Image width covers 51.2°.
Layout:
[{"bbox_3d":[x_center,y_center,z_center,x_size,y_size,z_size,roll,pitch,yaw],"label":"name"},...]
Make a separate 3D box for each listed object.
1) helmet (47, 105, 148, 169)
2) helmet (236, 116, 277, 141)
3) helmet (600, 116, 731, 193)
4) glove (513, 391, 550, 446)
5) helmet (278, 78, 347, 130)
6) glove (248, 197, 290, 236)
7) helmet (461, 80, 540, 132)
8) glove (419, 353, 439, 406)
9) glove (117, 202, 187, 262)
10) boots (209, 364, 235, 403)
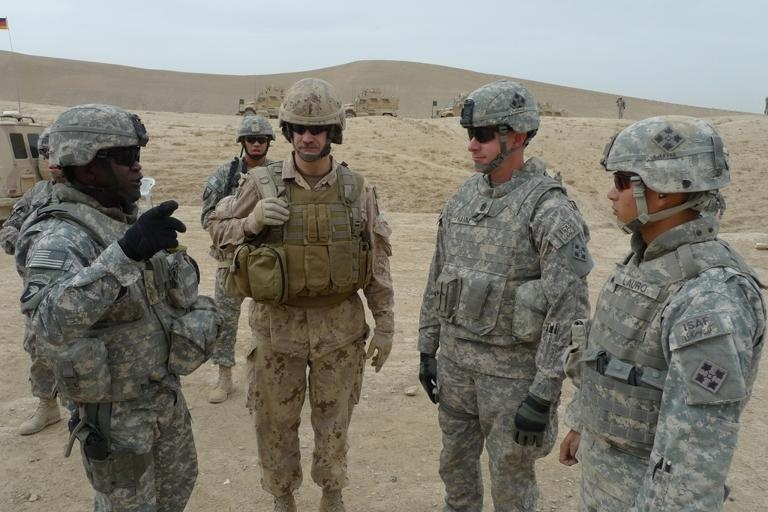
[{"bbox_3d":[-1.877,-0.808,5.276,0.541,0.287,0.499,-8,14,-29],"label":"helmet"},{"bbox_3d":[-1.289,-1.260,8.032,0.379,0.236,0.386,0,2,-10],"label":"helmet"},{"bbox_3d":[1.653,-0.584,4.776,0.642,0.332,0.503,0,9,24],"label":"helmet"},{"bbox_3d":[0.985,1.104,5.404,0.297,0.316,0.148,16,9,9],"label":"glove"},{"bbox_3d":[-0.544,-1.121,6.101,0.421,0.292,0.397,0,21,-4],"label":"helmet"},{"bbox_3d":[-0.868,-0.279,5.931,0.335,0.284,0.179,-1,11,-7],"label":"glove"},{"bbox_3d":[0.843,-1.084,5.901,0.520,0.300,0.391,-5,17,-11],"label":"helmet"},{"bbox_3d":[0.336,0.922,6.068,0.115,0.309,0.243,-4,0,-25],"label":"glove"},{"bbox_3d":[-1.454,-0.149,5.018,0.394,0.387,0.206,-2,11,-13],"label":"glove"},{"bbox_3d":[-1.623,1.251,7.923,0.198,0.348,0.367,11,24,16],"label":"boots"}]
